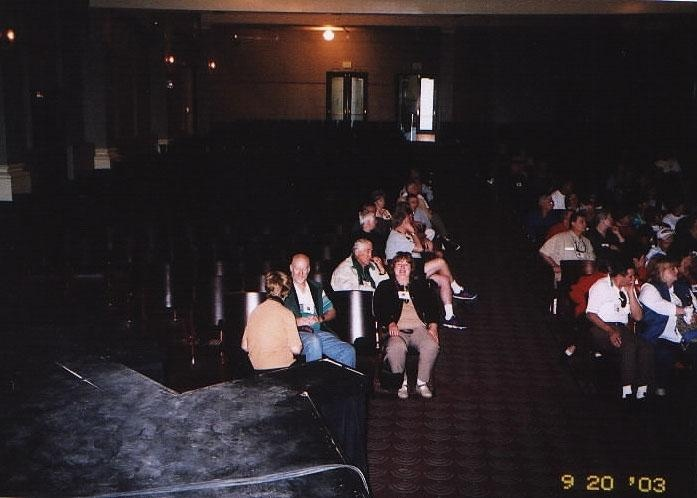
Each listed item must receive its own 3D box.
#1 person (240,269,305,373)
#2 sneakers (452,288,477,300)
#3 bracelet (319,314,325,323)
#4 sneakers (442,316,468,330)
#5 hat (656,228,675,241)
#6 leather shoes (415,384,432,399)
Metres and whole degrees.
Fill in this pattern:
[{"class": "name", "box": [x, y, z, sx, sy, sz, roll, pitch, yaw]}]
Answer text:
[{"class": "person", "box": [-0.561, 0.588, 5.271, 0.442, 0.827, 0.519, 10, 15, 30]}, {"class": "sneakers", "box": [1.528, 0.603, 8.579, 0.367, 0.157, 0.144, -2, 8, 2]}, {"class": "bracelet", "box": [-0.225, 0.622, 5.815, 0.047, 0.064, 0.024, 7, -4, -2]}, {"class": "sneakers", "box": [1.208, 0.864, 7.496, 0.284, 0.139, 0.127, 4, 7, -2]}, {"class": "hat", "box": [3.511, -0.162, 7.298, 0.120, 0.090, 0.161, -3, 4, -4]}, {"class": "leather shoes", "box": [0.672, 1.264, 5.801, 0.083, 0.103, 0.154, -5, 1, -28]}]
